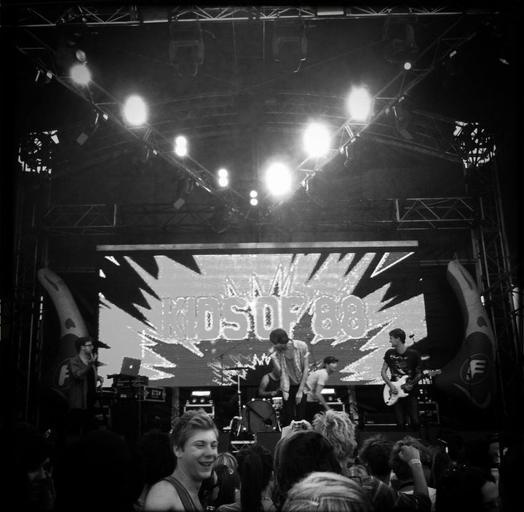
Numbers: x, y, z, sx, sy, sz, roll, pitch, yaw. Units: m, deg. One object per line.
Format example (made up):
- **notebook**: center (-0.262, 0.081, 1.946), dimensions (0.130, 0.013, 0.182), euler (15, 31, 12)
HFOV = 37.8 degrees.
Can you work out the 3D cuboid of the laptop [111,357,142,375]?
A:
- **laptop**: center (-2.131, 1.732, 12.101), dimensions (0.294, 0.294, 0.071), euler (10, -6, -37)
